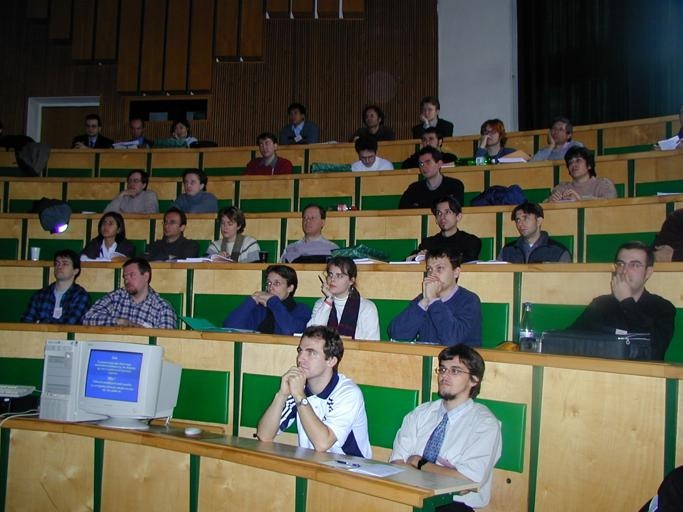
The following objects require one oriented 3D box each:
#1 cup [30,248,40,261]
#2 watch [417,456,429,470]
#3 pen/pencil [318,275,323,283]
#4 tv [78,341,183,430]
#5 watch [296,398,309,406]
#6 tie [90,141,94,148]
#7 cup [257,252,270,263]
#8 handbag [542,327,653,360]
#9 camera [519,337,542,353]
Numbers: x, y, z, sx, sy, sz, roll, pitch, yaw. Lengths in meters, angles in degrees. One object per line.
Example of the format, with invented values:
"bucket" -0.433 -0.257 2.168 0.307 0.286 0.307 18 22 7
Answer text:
"cup" -2.339 -0.014 4.880 0.071 0.093 0.073 1 -8 0
"watch" 0.359 0.923 2.772 0.041 0.037 0.042 -18 -11 35
"pen/pencil" -0.131 0.160 4.154 0.016 0.074 0.009 -36 -15 22
"tv" -1.030 0.656 3.200 0.364 0.439 0.401 -1 -8 11
"watch" -0.162 0.648 2.760 0.038 0.027 0.037 17 -24 -39
"tie" -2.930 -1.349 7.518 0.059 0.078 0.071 -3 3 -11
"cup" -0.573 0.019 4.718 0.064 0.083 0.078 -2 -19 4
"handbag" 1.130 0.406 2.845 0.454 0.119 0.245 -2 -2 27
"camera" 0.913 0.428 3.065 0.068 0.102 0.093 17 -22 -42
